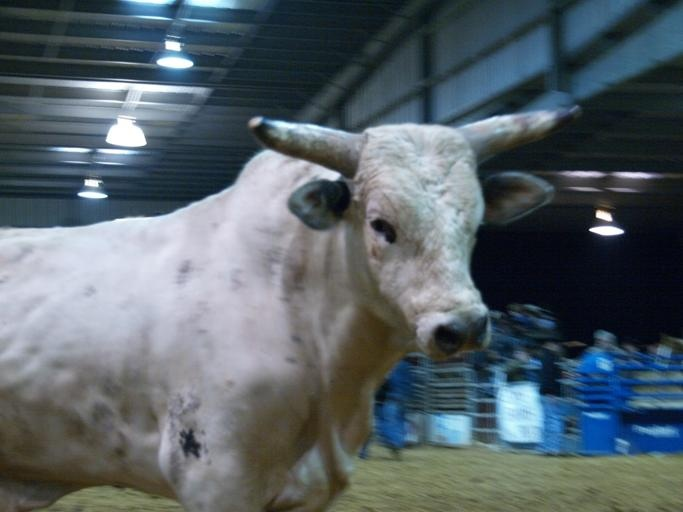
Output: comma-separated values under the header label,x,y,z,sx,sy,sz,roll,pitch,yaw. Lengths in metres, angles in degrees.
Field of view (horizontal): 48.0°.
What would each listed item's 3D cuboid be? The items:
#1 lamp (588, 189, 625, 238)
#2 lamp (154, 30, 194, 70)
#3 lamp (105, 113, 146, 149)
label,x,y,z,sx,sy,sz,roll,pitch,yaw
lamp,6.030,-1.038,17.396,0.831,0.862,0.855,12,3,39
lamp,-2.207,-2.716,10.173,0.414,0.340,0.355,4,-15,-16
lamp,-3.607,-2.097,12.747,0.754,0.393,0.750,12,-6,-36
